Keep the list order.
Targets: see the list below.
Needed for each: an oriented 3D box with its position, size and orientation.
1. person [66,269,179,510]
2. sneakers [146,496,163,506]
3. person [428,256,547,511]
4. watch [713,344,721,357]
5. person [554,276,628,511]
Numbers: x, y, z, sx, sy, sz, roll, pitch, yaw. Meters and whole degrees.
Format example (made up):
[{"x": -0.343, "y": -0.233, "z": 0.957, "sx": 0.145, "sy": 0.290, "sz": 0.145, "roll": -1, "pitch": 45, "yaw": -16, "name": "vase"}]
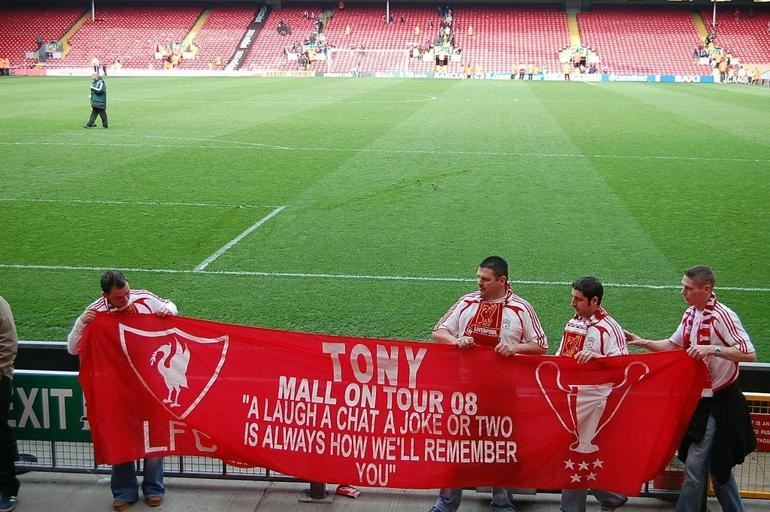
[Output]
[{"x": -2.418, "y": 1.221, "z": 7.900, "sx": 0.948, "sy": 2.183, "sz": 0.518, "roll": -2, "pitch": 2, "yaw": -18, "name": "person"}, {"x": -2.120, "y": 2.245, "z": 7.793, "sx": 0.154, "sy": 0.093, "sz": 0.090, "roll": -1, "pitch": 1, "yaw": -12, "name": "sneakers"}, {"x": 0.931, "y": 1.168, "z": 7.782, "sx": 1.040, "sy": 2.324, "sz": 0.496, "roll": -1, "pitch": 2, "yaw": 8, "name": "person"}, {"x": 2.875, "y": 0.831, "z": 7.392, "sx": 0.069, "sy": 0.089, "sz": 0.073, "roll": -1, "pitch": 1, "yaw": 11, "name": "watch"}, {"x": 1.868, "y": 1.259, "z": 7.727, "sx": 0.602, "sy": 2.147, "sz": 0.412, "roll": -1, "pitch": 2, "yaw": 12, "name": "person"}]
